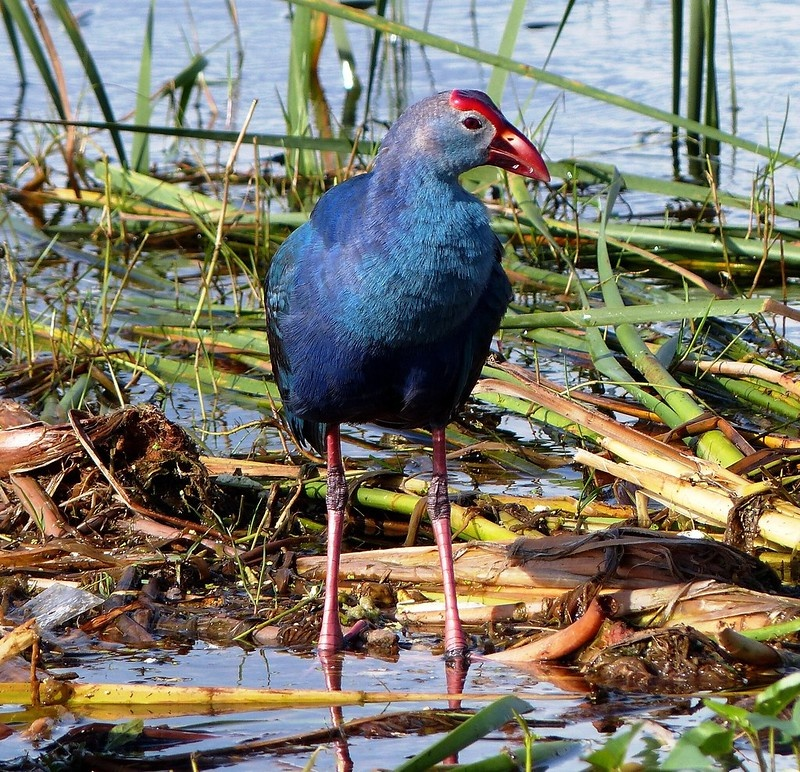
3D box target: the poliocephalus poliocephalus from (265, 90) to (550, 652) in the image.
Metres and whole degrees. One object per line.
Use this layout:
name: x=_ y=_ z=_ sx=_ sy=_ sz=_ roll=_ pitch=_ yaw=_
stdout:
poliocephalus poliocephalus: x=-0.122 y=-0.074 z=3.088 sx=0.642 sy=1.488 sz=0.606 roll=22 pitch=23 yaw=37
